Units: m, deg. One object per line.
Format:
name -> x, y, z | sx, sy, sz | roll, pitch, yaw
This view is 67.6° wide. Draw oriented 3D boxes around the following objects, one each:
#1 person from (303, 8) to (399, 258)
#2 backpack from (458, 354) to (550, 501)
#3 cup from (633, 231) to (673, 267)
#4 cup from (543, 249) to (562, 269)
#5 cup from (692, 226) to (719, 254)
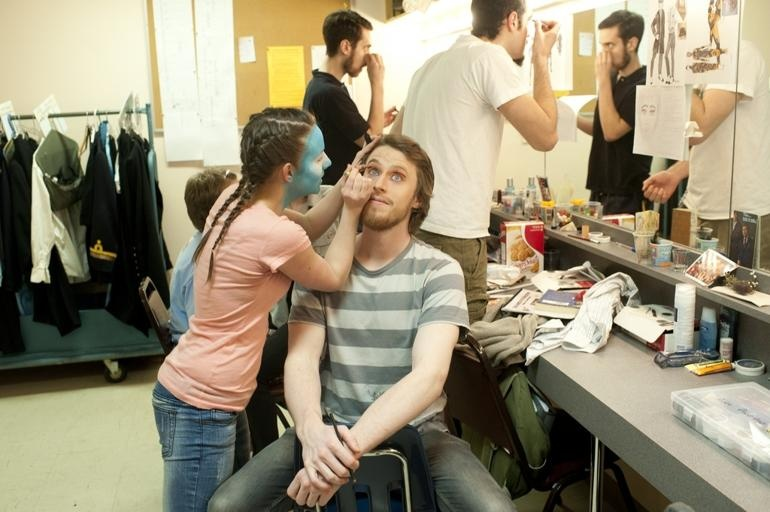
person -> -0.222, -0.719, 3.782 | 0.566, 1.616, 0.562 | -11, 34, -22
backpack -> 0.533, 0.703, 2.419 | 0.151, 0.531, 0.391 | -10, 2, -34
cup -> 1.245, -0.024, 2.695 | 0.156, 0.119, 0.128 | 1, 12, 0
cup -> 0.980, 0.016, 3.384 | 0.099, 0.119, 0.107 | -2, 6, 0
cup -> 1.433, -0.070, 2.579 | 0.066, 0.103, 0.104 | -4, 10, -11
